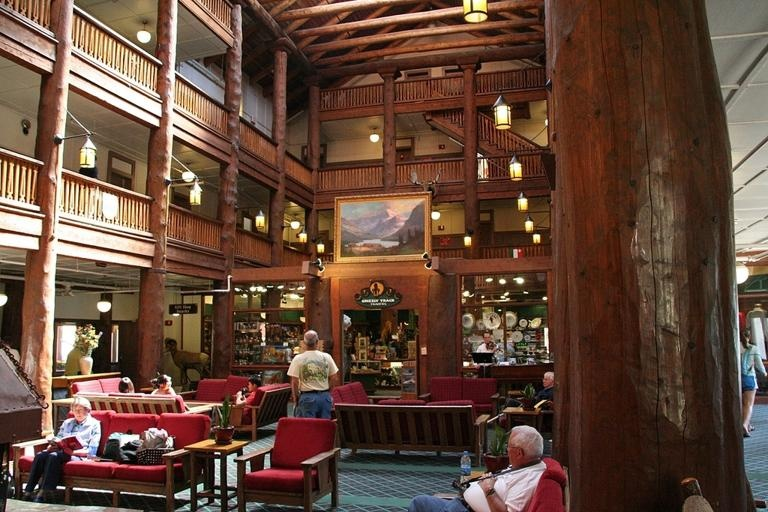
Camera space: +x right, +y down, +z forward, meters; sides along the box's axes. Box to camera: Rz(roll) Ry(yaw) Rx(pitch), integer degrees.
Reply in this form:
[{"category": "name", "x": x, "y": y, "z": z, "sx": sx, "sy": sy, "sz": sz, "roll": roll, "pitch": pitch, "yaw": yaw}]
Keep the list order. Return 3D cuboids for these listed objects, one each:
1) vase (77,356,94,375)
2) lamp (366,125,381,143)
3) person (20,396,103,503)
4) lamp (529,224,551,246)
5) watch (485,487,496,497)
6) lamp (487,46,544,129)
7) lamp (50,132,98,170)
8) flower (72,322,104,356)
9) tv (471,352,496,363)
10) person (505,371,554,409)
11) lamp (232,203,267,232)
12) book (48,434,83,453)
[{"category": "vase", "x": -6.653, "y": 2.417, "z": 14.495, "sx": 0.250, "sy": 0.447, "sz": 0.566, "roll": 3, "pitch": -13, "yaw": -26}, {"category": "lamp", "x": -0.377, "y": -4.566, "z": 24.444, "sx": 0.615, "sy": 0.877, "sz": 0.632, "roll": 0, "pitch": -10, "yaw": -5}, {"category": "person", "x": -4.323, "y": 2.596, "z": 8.764, "sx": 0.872, "sy": 1.275, "sz": 0.417, "roll": 2, "pitch": -12, "yaw": -24}, {"category": "lamp", "x": 5.495, "y": -0.757, "z": 22.878, "sx": 0.719, "sy": 0.730, "sz": 0.410, "roll": 0, "pitch": -14, "yaw": 5}, {"category": "watch", "x": 0.995, "y": 2.211, "z": 6.095, "sx": 0.084, "sy": 0.053, "sz": 0.080, "roll": -13, "pitch": -24, "yaw": -26}, {"category": "lamp", "x": 2.977, "y": -3.191, "z": 14.942, "sx": 0.839, "sy": 2.373, "sz": 0.959, "roll": 3, "pitch": -5, "yaw": -42}, {"category": "lamp", "x": -5.775, "y": -1.968, "z": 12.174, "sx": 0.719, "sy": 0.672, "sz": 0.297, "roll": -3, "pitch": -8, "yaw": -3}, {"category": "flower", "x": -6.497, "y": 1.827, "z": 14.182, "sx": 0.403, "sy": 0.644, "sz": 0.546, "roll": 5, "pitch": -13, "yaw": -33}, {"category": "tv", "x": 2.127, "y": 2.189, "z": 14.014, "sx": 0.442, "sy": 0.240, "sz": 0.261, "roll": -2, "pitch": -11, "yaw": -6}, {"category": "person", "x": 2.724, "y": 2.505, "z": 11.833, "sx": 0.796, "sy": 0.756, "sz": 0.854, "roll": 0, "pitch": -8, "yaw": 2}, {"category": "lamp", "x": -4.899, "y": -1.426, "z": 24.245, "sx": 1.134, "sy": 1.026, "sz": 1.049, "roll": 1, "pitch": -12, "yaw": -19}, {"category": "book", "x": -4.248, "y": 2.523, "z": 8.678, "sx": 0.394, "sy": 0.220, "sz": 0.170, "roll": 3, "pitch": -12, "yaw": -25}]
